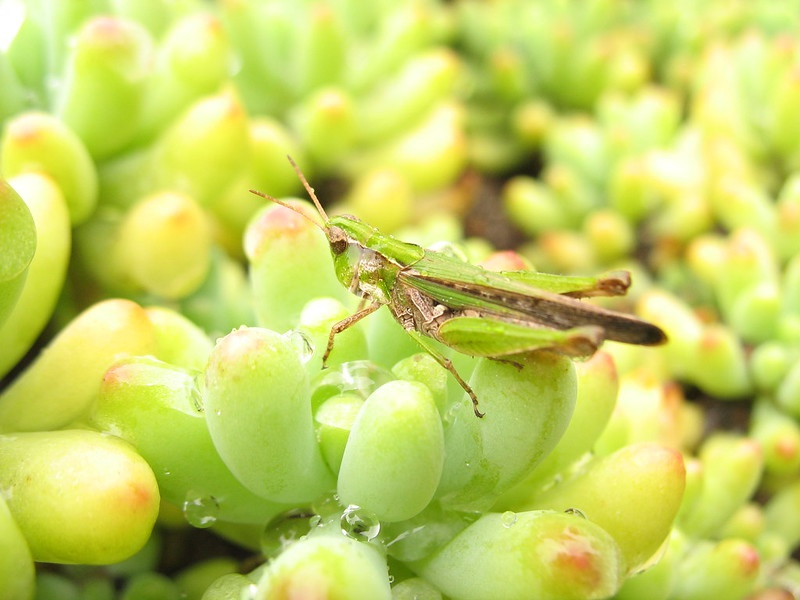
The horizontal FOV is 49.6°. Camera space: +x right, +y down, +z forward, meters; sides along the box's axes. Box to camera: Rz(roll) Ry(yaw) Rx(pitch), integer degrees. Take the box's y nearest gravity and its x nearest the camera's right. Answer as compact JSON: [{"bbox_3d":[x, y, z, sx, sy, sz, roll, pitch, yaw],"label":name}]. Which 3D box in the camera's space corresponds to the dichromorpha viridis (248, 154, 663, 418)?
[{"bbox_3d":[0.070,0.029,1.005,0.426,0.167,0.176,14,79,5],"label":"dichromorpha viridis"}]
